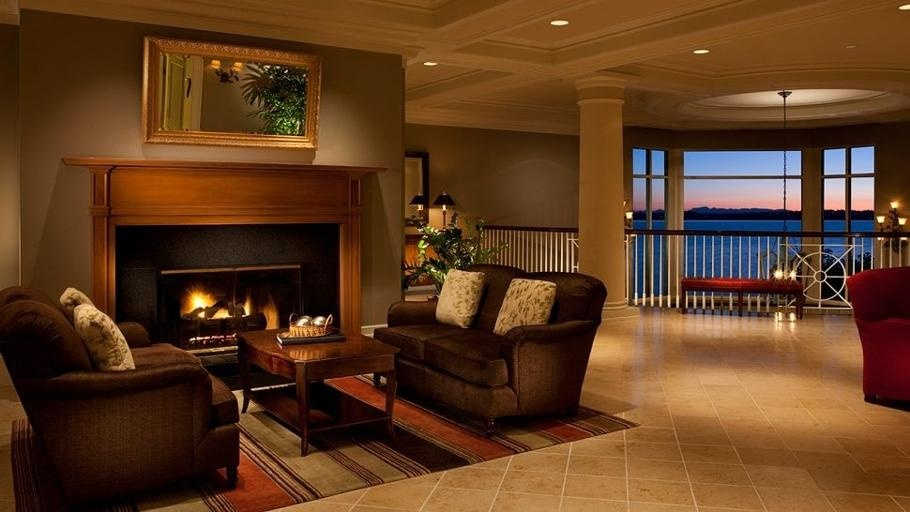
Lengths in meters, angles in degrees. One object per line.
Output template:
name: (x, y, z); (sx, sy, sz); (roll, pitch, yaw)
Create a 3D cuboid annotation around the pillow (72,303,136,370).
pillow: (-2.724, 0.618, 4.682); (0.495, 0.546, 0.828); (1, 13, -30)

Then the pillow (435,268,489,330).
pillow: (0.037, 0.464, 6.620); (0.637, 0.575, 0.276); (8, -16, 39)

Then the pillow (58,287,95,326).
pillow: (-3.198, 0.428, 4.976); (0.080, 0.225, 0.245); (-22, -2, 7)

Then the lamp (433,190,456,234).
lamp: (-0.203, -0.960, 12.152); (0.377, 0.744, 0.475); (1, 12, 10)

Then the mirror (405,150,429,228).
mirror: (-0.748, -1.367, 11.911); (0.537, 1.521, 0.400); (-3, 12, -9)

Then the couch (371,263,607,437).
couch: (0.354, 0.979, 6.112); (1.660, 1.335, 2.613); (2, -1, -34)

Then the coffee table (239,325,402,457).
coffee table: (-1.297, 1.176, 5.526); (1.156, 0.656, 1.527); (0, 2, -28)

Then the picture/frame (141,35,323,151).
picture/frame: (-2.694, -1.922, 6.899); (1.781, 0.898, 0.068); (0, 3, -23)
